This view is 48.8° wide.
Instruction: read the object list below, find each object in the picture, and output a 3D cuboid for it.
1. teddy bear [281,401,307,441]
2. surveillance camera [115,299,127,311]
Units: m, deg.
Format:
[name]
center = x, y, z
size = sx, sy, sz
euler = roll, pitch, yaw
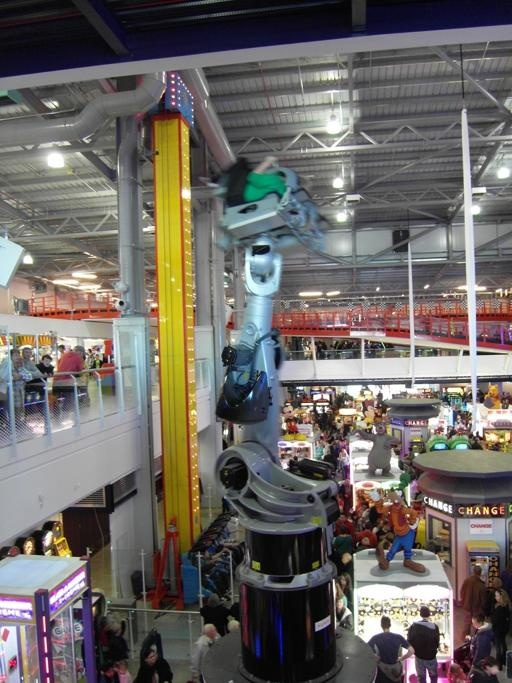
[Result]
[teddy bear]
center = 1.183, 2.616, 17.808
size = 0.614, 1.088, 0.815
euler = -2, -7, 2
[surveillance camera]
center = -2.258, -0.599, 9.368
size = 0.148, 0.194, 0.196
euler = 3, 6, -1
